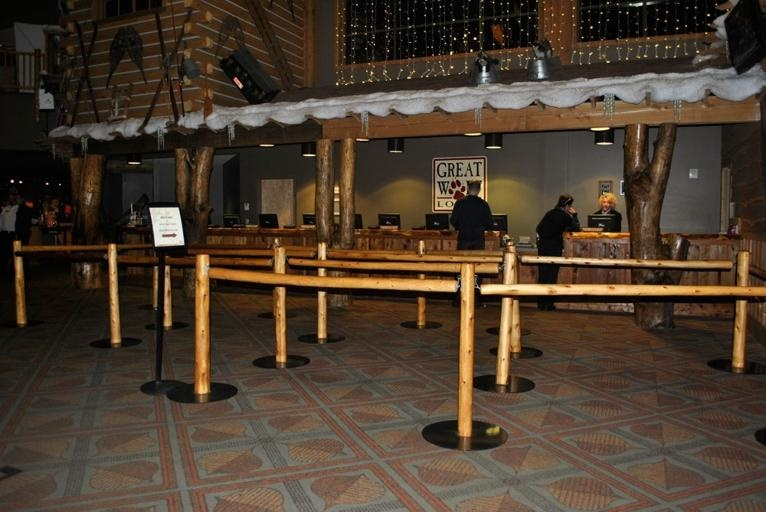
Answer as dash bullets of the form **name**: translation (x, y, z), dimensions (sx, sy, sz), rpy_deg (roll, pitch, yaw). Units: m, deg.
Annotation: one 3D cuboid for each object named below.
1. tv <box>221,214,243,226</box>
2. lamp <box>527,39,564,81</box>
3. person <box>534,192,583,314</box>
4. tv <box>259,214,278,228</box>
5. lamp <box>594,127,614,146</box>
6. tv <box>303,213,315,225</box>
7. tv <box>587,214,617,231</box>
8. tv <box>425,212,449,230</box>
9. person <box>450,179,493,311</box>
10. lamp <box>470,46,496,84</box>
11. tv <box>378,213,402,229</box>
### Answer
- **tv**: translation (-3.861, -0.870, 13.791), dimensions (0.354, 0.287, 0.728), rpy_deg (-3, 10, -20)
- **lamp**: translation (2.552, -3.174, 8.564), dimensions (0.485, 0.519, 0.765), rpy_deg (10, 31, 28)
- **person**: translation (2.940, -0.081, 9.196), dimensions (0.612, 1.883, 1.335), rpy_deg (5, 12, 21)
- **tv**: translation (-2.687, -0.830, 12.831), dimensions (0.584, 0.311, 0.363), rpy_deg (3, 14, 7)
- **lamp**: translation (4.321, -2.319, 10.468), dimensions (0.276, 0.251, 0.578), rpy_deg (9, 13, 40)
- **tv**: translation (-1.826, -0.881, 13.382), dimensions (0.237, 0.240, 0.562), rpy_deg (-4, 11, -21)
- **tv**: translation (4.164, -0.631, 10.217), dimensions (0.518, 0.377, 0.362), rpy_deg (4, 6, 34)
- **tv**: translation (1.260, -0.761, 12.267), dimensions (0.484, 0.328, 0.416), rpy_deg (0, 10, -4)
- **person**: translation (1.493, -0.668, 8.954), dimensions (0.676, 1.130, 0.327), rpy_deg (2, 12, 8)
- **lamp**: translation (1.579, -2.883, 8.282), dimensions (0.399, 0.555, 0.509), rpy_deg (1, 11, 5)
- **tv**: translation (0.233, -0.827, 12.904), dimensions (0.824, 0.348, 0.500), rpy_deg (3, 1, 14)
